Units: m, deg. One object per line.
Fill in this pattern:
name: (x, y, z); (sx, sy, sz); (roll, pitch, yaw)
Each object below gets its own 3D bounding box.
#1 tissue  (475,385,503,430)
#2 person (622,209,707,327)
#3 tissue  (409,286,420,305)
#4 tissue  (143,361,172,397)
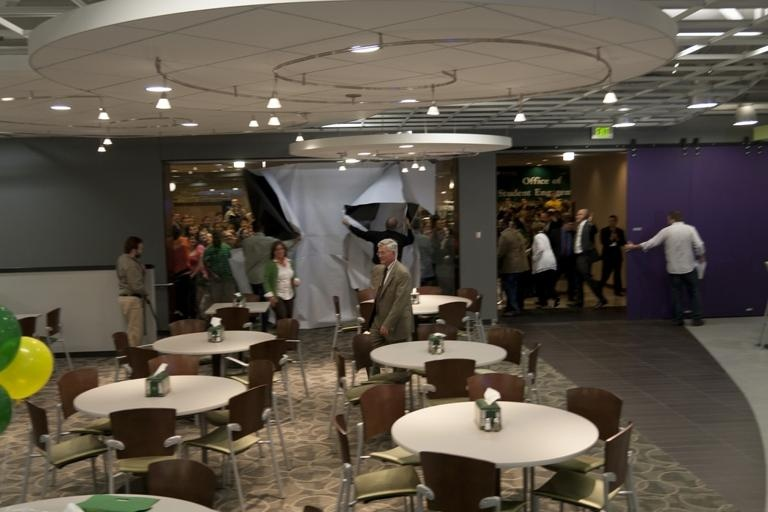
tissue : (0.914, 1.323, 4.927); (0.225, 0.336, 0.278); (-1, 9, 10)
person: (6.558, 0.268, 12.552); (1.053, 2.488, 0.555); (2, 12, 24)
tissue : (0.477, 0.685, 9.708); (0.299, 0.328, 0.261); (0, -1, -3)
tissue : (-2.446, 1.319, 5.952); (0.230, 0.311, 0.351); (0, -3, -4)
